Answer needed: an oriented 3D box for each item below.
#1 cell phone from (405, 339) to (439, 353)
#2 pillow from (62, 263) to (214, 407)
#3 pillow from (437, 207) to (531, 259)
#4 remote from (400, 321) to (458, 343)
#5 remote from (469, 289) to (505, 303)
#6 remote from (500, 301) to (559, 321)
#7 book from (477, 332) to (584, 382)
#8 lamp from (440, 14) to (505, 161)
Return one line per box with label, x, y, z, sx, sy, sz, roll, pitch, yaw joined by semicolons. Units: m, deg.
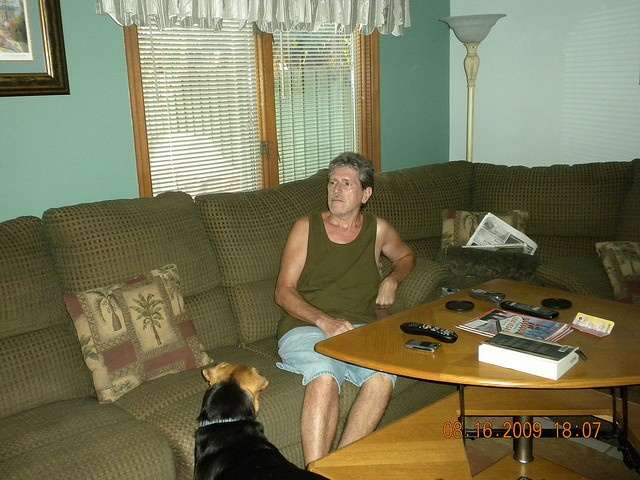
cell phone;0.397;0.404;2.006;0.075;0.017;0.055;4;9;25
pillow;-0.826;0.418;2.382;0.517;0.463;0.305;-15;22;-28
pillow;0.995;-0.052;3.498;0.377;0.113;0.366;2;58;7
remote;0.441;0.369;2.082;0.243;0.062;0.074;6;17;32
remote;0.776;0.257;2.432;0.111;0.034;0.063;5;11;37
remote;0.894;0.292;2.225;0.174;0.032;0.086;7;15;31
book;0.739;0.408;1.853;0.194;0.043;0.186;7;14;36
lamp;1.213;-1.176;4.115;0.436;1.137;0.580;1;20;17
